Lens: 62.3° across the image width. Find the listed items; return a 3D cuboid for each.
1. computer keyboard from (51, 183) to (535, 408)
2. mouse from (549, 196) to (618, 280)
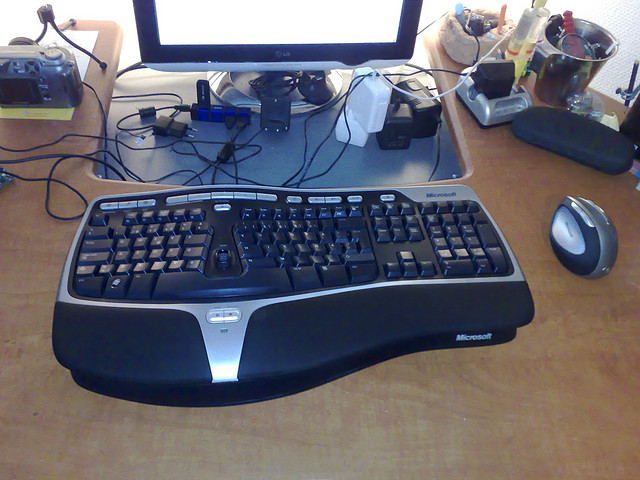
[{"bbox_3d":[-0.043,0.053,0.809,0.685,0.191,0.334,-3,40,-14],"label":"computer keyboard"},{"bbox_3d":[0.440,-0.002,0.889,0.105,0.045,0.128,-21,79,14],"label":"mouse"}]
